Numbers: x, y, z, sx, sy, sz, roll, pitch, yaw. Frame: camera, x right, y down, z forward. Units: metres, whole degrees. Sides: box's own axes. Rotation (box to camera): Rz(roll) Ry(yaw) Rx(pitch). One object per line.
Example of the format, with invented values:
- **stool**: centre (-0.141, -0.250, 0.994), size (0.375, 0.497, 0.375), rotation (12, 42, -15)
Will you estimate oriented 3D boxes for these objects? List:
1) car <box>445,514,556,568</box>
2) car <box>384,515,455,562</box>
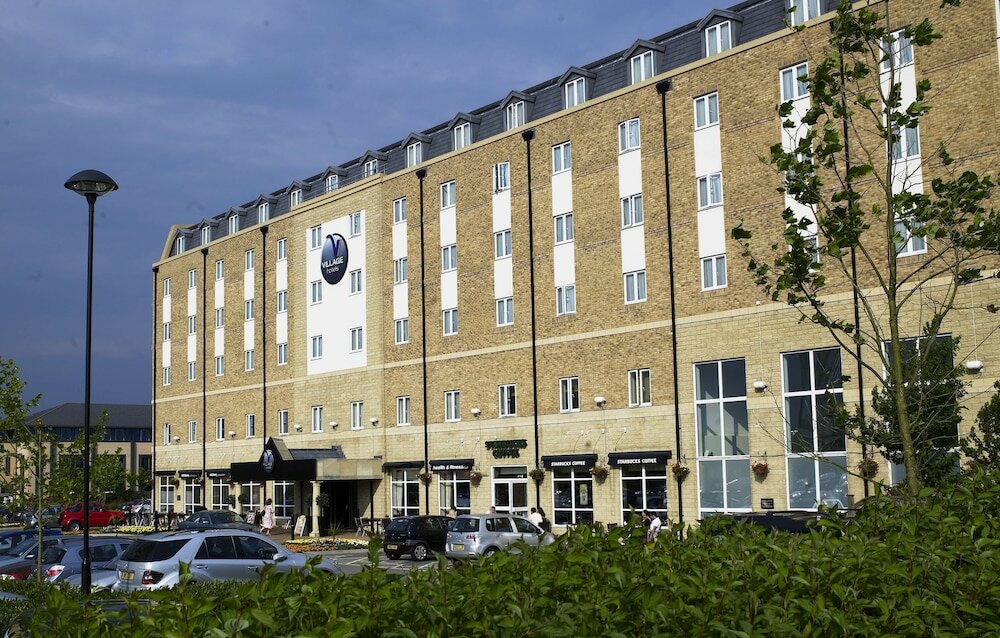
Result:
- **car**: centre (-0.383, 8.090, 48.468), size (3.116, 1.685, 2.232), rotation (-4, 0, -11)
- **car**: centre (-3.328, 8.795, 51.527), size (2.489, 1.831, 1.678), rotation (-4, 0, -5)
